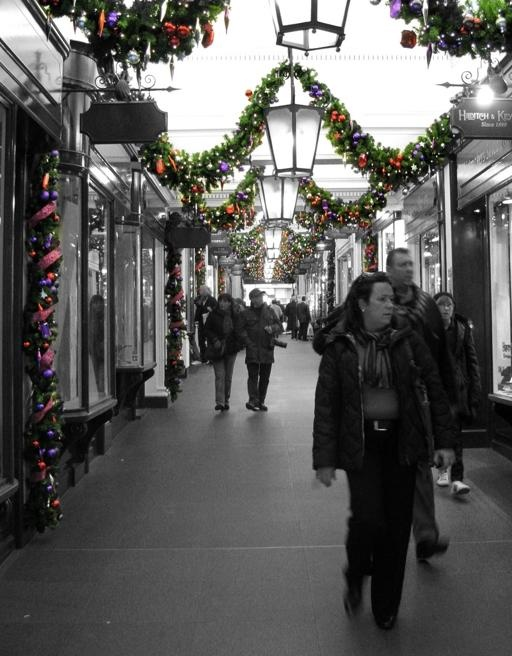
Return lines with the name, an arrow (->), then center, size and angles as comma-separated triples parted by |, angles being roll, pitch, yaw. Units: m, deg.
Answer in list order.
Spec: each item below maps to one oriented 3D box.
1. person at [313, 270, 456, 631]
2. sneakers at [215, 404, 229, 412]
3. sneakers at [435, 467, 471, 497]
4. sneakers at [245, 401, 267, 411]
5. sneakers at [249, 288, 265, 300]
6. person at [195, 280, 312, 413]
person -> 0.497, 0.477, 2.248 | 0.585, 1.416, 0.309 | 0, -3, -10
sneakers -> -0.579, 1.353, 9.540 | 0.241, 0.105, 0.175 | 0, -3, -15
sneakers -> 1.644, 1.293, 4.716 | 0.143, 0.270, 0.548 | -2, -16, 3
sneakers -> 0.022, 1.332, 9.522 | 0.351, 0.148, 0.256 | -1, -3, 6
sneakers -> -0.003, -0.591, 9.660 | 0.148, 0.091, 0.230 | -3, -10, -13
person -> -0.243, 0.364, 9.565 | 1.241, 2.097, 0.779 | 0, -3, -7
